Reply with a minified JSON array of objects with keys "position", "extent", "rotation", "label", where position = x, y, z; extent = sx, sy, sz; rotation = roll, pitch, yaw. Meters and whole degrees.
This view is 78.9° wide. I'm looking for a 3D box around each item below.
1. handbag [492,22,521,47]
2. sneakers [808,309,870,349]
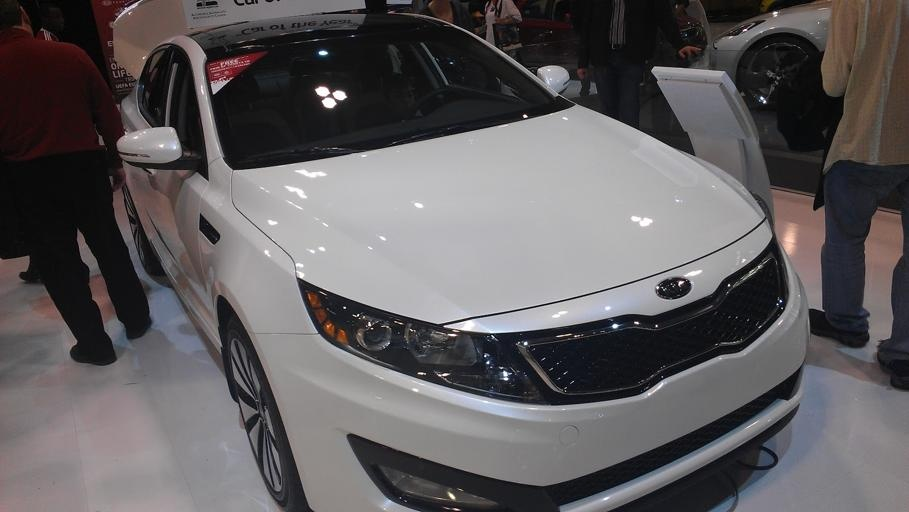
[{"position":[0.701,-2.947,7.494],"extent":[0.260,0.341,0.333],"rotation":[2,13,7],"label":"handbag"},{"position":[2.278,0.439,3.260],"extent":[0.115,0.129,0.297],"rotation":[-30,48,-26],"label":"sneakers"}]
